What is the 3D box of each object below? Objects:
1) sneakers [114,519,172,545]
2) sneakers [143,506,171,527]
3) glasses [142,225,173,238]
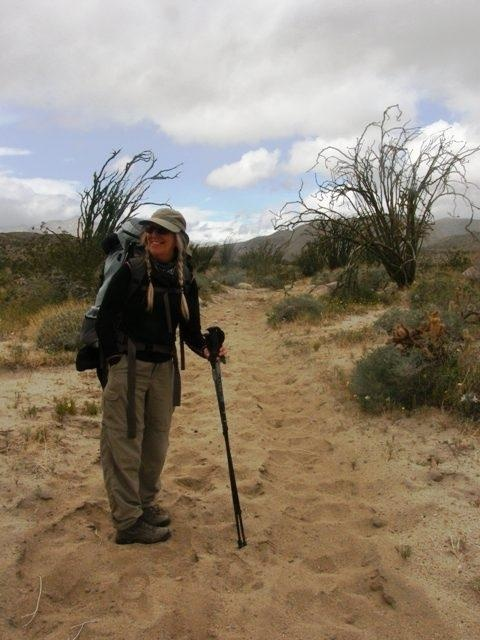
[{"bbox_3d":[-0.600,1.316,3.220,0.341,0.173,0.135,-1,2,-13],"label":"sneakers"},{"bbox_3d":[-0.515,1.306,3.484,0.236,0.100,0.081,11,15,0],"label":"sneakers"},{"bbox_3d":[-0.492,-0.524,3.098,0.069,0.035,0.106,3,-9,20],"label":"glasses"}]
